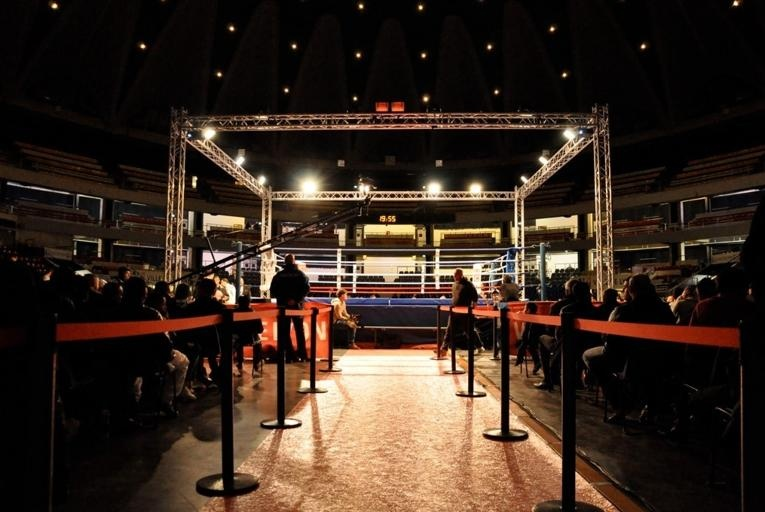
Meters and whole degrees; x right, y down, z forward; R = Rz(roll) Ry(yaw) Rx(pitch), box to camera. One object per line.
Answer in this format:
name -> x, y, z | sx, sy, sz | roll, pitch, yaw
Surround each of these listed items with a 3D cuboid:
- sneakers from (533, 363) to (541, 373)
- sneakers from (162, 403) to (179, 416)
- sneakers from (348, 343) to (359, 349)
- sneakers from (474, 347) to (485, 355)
sneakers -> 3.956, 2.944, 16.949 | 0.128, 0.165, 0.428 | 14, -31, 14
sneakers -> -4.541, 3.285, 14.133 | 0.299, 0.089, 0.220 | 14, -5, -17
sneakers -> -0.932, 2.850, 20.978 | 0.357, 0.246, 0.130 | 2, -5, -16
sneakers -> 2.956, 2.878, 19.989 | 0.147, 0.297, 0.448 | -15, -30, 37
